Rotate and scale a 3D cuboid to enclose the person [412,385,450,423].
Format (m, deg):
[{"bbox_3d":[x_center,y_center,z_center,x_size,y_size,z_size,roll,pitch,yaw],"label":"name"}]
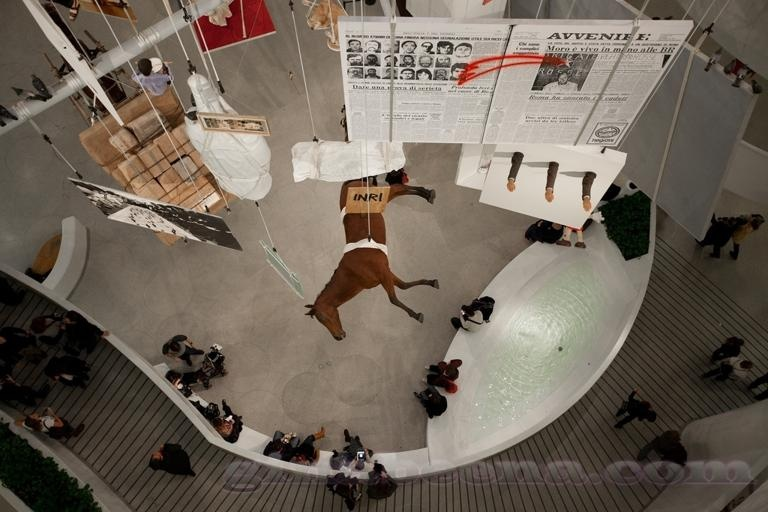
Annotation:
[{"bbox_3d":[1.383,4.015,12.141,0.364,1.264,0.975,-60,12,5],"label":"person"}]

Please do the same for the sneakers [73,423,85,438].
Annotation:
[{"bbox_3d":[-7.237,4.125,10.689,0.168,0.070,0.291,23,57,38],"label":"sneakers"}]

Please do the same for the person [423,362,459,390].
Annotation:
[{"bbox_3d":[1.532,3.190,12.095,0.843,0.620,0.614,8,52,14],"label":"person"}]

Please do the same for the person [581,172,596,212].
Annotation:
[{"bbox_3d":[4.087,-1.310,8.997,0.222,0.231,0.783,7,73,34],"label":"person"}]

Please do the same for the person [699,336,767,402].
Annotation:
[{"bbox_3d":[8.441,2.755,10.807,1.314,0.757,0.318,-48,39,11],"label":"person"}]

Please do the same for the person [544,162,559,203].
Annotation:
[{"bbox_3d":[3.360,-1.521,9.037,0.228,0.233,0.885,7,61,13],"label":"person"}]

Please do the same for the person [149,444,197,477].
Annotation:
[{"bbox_3d":[-5.074,4.693,10.610,1.196,0.869,0.392,-16,92,36],"label":"person"}]
